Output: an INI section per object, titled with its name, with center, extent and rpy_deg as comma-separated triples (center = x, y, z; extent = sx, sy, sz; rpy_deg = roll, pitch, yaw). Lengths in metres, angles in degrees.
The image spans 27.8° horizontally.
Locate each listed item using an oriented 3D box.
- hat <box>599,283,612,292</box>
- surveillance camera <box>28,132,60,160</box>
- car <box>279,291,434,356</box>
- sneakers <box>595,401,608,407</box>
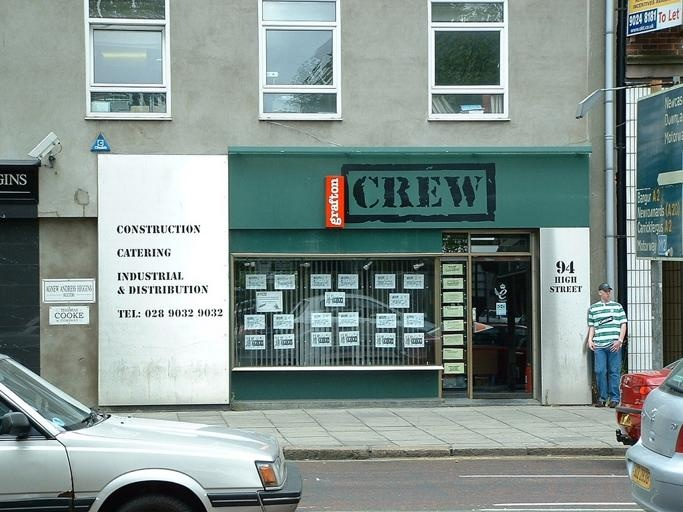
[hat]
center = 5.266, 0.592, 27.650
extent = 0.151, 0.102, 0.199
rpy_deg = -3, -2, -12
[surveillance camera]
center = -5.870, -2.186, 27.317
extent = 0.713, 0.323, 0.280
rpy_deg = -47, 12, -35
[car]
center = 0.181, 1.375, 28.609
extent = 2.532, 1.129, 1.301
rpy_deg = -4, -2, -9
[sneakers]
center = 5.228, 2.925, 27.716
extent = 0.226, 0.094, 0.096
rpy_deg = 3, -1, -3
